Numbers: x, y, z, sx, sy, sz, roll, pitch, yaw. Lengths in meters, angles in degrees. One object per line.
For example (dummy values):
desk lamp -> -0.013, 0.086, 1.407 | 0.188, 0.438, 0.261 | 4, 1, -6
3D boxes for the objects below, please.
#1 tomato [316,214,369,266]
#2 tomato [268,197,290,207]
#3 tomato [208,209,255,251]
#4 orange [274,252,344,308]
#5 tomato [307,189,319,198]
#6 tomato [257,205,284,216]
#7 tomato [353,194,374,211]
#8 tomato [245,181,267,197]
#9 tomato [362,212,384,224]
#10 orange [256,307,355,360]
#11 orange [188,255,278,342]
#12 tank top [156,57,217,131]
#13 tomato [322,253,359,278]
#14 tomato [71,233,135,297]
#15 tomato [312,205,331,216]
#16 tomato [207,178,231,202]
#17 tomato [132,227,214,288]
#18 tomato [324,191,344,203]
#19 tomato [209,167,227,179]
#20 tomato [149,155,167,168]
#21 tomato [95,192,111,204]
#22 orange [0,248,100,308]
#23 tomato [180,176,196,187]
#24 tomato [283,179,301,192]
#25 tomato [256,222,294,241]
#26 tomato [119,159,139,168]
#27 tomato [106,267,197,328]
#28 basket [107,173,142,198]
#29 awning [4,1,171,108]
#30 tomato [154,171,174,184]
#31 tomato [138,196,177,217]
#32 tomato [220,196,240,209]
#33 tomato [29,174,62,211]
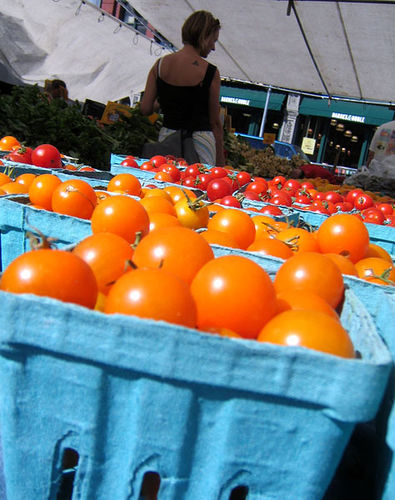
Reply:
tomato -> 0.571, -0.031, 1.609 | 0.207, 0.229, 0.202 | -2, -18, 5
tomato -> 0.627, -0.395, 2.836 | 0.110, 0.108, 0.106 | 10, 23, 25
tomato -> 0.178, -0.079, 1.588 | 0.145, 0.161, 0.140 | -8, -1, -19
orange -> 0.289, 0.086, 1.091 | 0.172, 0.194, 0.166 | -1, -9, -4
tomato -> 1.170, -0.573, 3.787 | 0.096, 0.107, 0.095 | 0, 8, 9
tomato -> 0.456, -0.239, 2.292 | 0.148, 0.046, 0.147 | 14, 27, 8
tomato -> 1.643, -0.467, 3.716 | 0.171, 0.173, 0.210 | 21, 7, 30
tomato -> 0.522, -0.532, 3.358 | 0.151, 0.174, 0.148 | -3, -14, 3
tomato -> 1.285, -0.229, 2.718 | 0.106, 0.102, 0.100 | -4, 23, 15
orange -> 0.199, 0.148, 0.698 | 0.115, 0.127, 0.108 | -1, -17, 0
orange -> 0.076, 0.086, 0.794 | 0.178, 0.198, 0.175 | 0, 2, 9
tank top -> -0.059, -1.694, 4.245 | 0.655, 0.843, 0.757 | 6, 15, 11
tomato -> 0.490, 0.057, 1.276 | 0.095, 0.104, 0.088 | -1, -5, -6
tomato -> -0.216, 0.016, 1.011 | 0.171, 0.190, 0.169 | 5, 9, 9
tomato -> 0.940, -0.308, 2.846 | 0.093, 0.102, 0.090 | -31, 41, -32
tomato -> 0.154, -0.424, 2.749 | 0.180, 0.204, 0.175 | -1, -4, 2
tomato -> -0.055, 0.010, 1.046 | 0.172, 0.188, 0.163 | -7, -7, -25
tomato -> 1.284, -0.494, 3.544 | 0.127, 0.149, 0.134 | -11, 13, 36
tomato -> 0.190, -0.701, 3.363 | 0.146, 0.112, 0.114 | -7, -3, 37
tomato -> -0.372, -0.854, 3.577 | 0.135, 0.101, 0.097 | -11, 16, -11
tomato -> -0.440, -0.233, 1.717 | 0.070, 0.037, 0.072 | 1, 5, 28
orange -> -0.285, 0.049, 0.708 | 0.137, 0.128, 0.131 | 2, -2, -21
tomato -> -0.076, -0.564, 3.059 | 0.116, 0.092, 0.095 | 2, -17, -1
tomato -> 1.039, -0.734, 4.082 | 0.154, 0.177, 0.154 | -2, -9, 13
tomato -> 0.370, -0.078, 1.772 | 0.114, 0.132, 0.115 | -16, -3, 20
tomato -> -0.624, -0.803, 3.436 | 0.090, 0.068, 0.119 | 16, 15, 35
tomato -> -0.083, 0.084, 0.714 | 0.130, 0.143, 0.121 | -4, -12, -5
basket -> -0.397, -0.338, 2.072 | 0.157, 0.172, 0.155 | 1, -19, -25
awning -> -2.523, -4.458, 8.319 | 3.994, 1.134, 2.942 | 30, 43, 33
tomato -> -0.251, -0.580, 2.924 | 0.107, 0.106, 0.123 | 6, 14, -10
tomato -> -0.164, -0.184, 1.574 | 0.115, 0.131, 0.107 | -19, -1, -11
tomato -> 0.202, -0.302, 2.310 | 0.085, 0.097, 0.088 | 5, 11, 35
tomato -> -0.687, -0.282, 1.802 | 0.165, 0.181, 0.156 | -2, -33, -16
